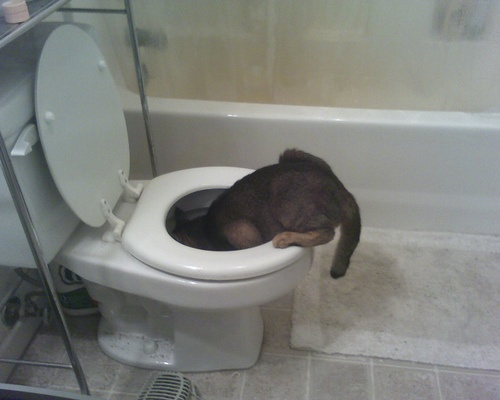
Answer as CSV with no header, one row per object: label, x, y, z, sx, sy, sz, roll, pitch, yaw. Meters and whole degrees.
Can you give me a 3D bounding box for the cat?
cat,0.055,0.045,1.112,0.354,0.176,0.287,-12,71,29
